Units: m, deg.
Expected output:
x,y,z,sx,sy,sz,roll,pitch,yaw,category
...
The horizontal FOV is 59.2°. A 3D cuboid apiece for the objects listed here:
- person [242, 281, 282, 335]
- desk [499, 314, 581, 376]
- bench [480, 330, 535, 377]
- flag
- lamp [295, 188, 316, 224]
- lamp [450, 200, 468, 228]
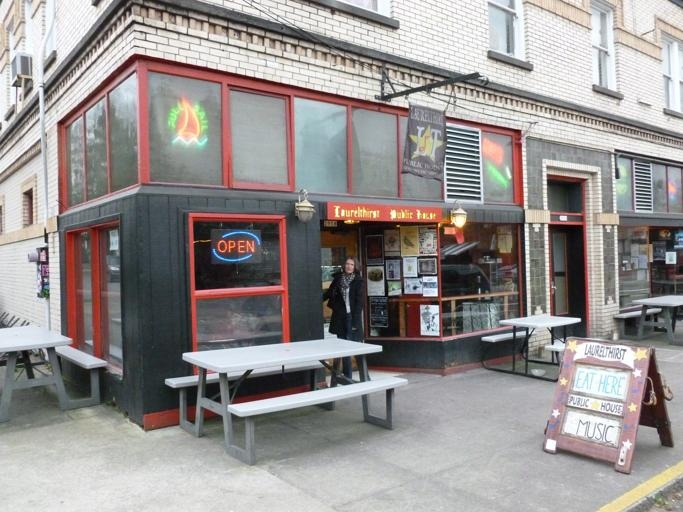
x,y,z,sx,sy,sz,roll,pitch,yaw,category
-1.217,0.883,9.154,0.745,0.669,0.180,-14,10,-35,person
3.577,1.798,11.008,1.771,0.896,0.995,-2,1,-44,desk
3.158,1.623,11.353,1.165,0.563,0.743,-1,2,-35,bench
1.375,-1.913,10.042,0.952,1.220,0.264,-7,11,-39,flag
-0.557,-0.780,9.292,0.308,0.532,0.502,-1,8,-2,lamp
2.097,-0.758,11.047,0.350,0.578,0.428,0,-1,-12,lamp
